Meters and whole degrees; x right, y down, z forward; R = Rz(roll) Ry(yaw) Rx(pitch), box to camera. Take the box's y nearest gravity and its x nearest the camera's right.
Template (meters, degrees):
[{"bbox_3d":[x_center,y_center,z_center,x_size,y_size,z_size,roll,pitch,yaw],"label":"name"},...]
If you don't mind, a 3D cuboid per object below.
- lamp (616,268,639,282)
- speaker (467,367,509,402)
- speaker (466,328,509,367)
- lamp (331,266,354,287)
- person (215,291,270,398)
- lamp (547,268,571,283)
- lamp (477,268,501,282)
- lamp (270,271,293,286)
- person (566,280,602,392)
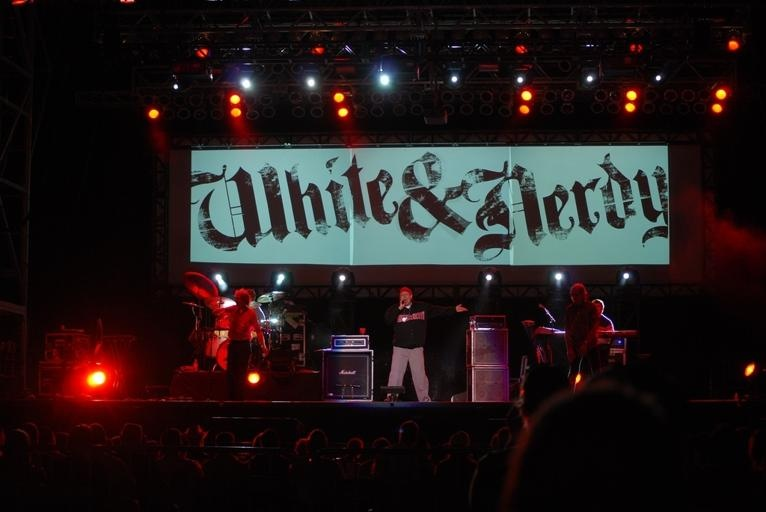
[{"bbox_3d":[4.833,0.419,18.218,0.439,0.401,0.250,0,-11,6],"label":"lamp"},{"bbox_3d":[1.789,2.257,16.012,0.717,0.654,0.388,3,-5,-23],"label":"speaker"},{"bbox_3d":[1.851,1.589,16.164,0.657,0.624,0.491,0,0,-4],"label":"speaker"},{"bbox_3d":[-0.779,0.453,18.366,0.435,0.420,0.233,1,-2,-6],"label":"lamp"},{"bbox_3d":[-2.332,1.464,15.355,0.754,1.796,0.983,1,-2,-12],"label":"person"},{"bbox_3d":[3.509,0.419,18.301,0.455,0.408,0.260,1,-10,0],"label":"lamp"},{"bbox_3d":[2.179,0.417,18.490,0.382,0.323,0.314,-2,-5,14],"label":"lamp"},{"bbox_3d":[-2.021,0.465,18.403,0.311,0.292,0.307,-1,-4,1],"label":"lamp"},{"bbox_3d":[3.229,1.270,14.844,0.564,1.611,0.929,1,-2,11],"label":"person"}]
